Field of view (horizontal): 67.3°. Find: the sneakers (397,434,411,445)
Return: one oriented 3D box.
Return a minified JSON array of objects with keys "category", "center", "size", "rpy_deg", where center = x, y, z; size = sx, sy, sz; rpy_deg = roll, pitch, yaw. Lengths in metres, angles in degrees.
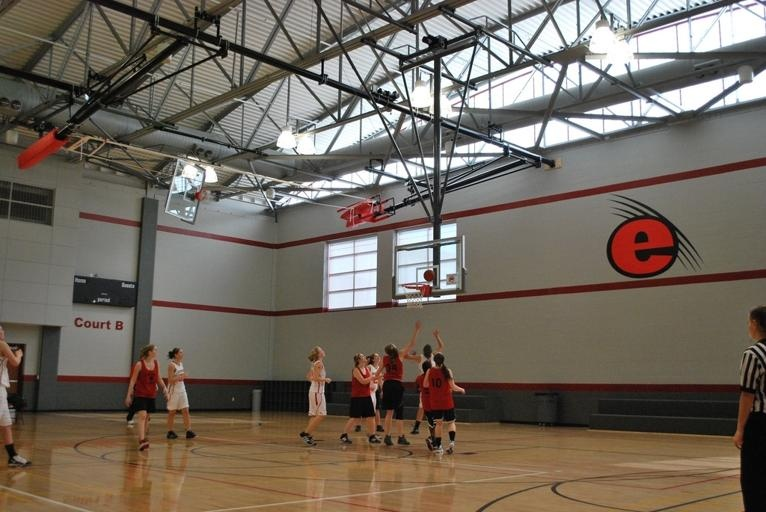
[{"category":"sneakers","center":[0.495,3.930,12.298],"size":[0.362,0.229,0.132],"rpy_deg":[5,-6,-42]}]

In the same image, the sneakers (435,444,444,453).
[{"category":"sneakers","center":[1.077,3.763,11.181],"size":[0.163,0.082,0.224],"rpy_deg":[2,-5,11]}]

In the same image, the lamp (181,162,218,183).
[{"category":"lamp","center":[-5.280,-2.377,16.393],"size":[0.625,0.281,0.619],"rpy_deg":[12,-20,-40]}]

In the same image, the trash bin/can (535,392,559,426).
[{"category":"trash bin/can","center":[5.088,4.766,17.961],"size":[0.904,1.005,0.910],"rpy_deg":[0,-14,4]}]

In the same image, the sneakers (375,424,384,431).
[{"category":"sneakers","center":[-0.081,4.650,15.470],"size":[0.262,0.168,0.105],"rpy_deg":[1,-4,-16]}]

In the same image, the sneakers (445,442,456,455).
[{"category":"sneakers","center":[1.309,3.718,11.130],"size":[0.163,0.176,0.460],"rpy_deg":[2,-3,6]}]

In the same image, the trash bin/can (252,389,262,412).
[{"category":"trash bin/can","center":[-5.283,6.039,24.159],"size":[0.428,0.825,0.635],"rpy_deg":[3,-11,-13]}]

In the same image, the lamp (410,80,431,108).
[{"category":"lamp","center":[0.847,-3.658,12.890],"size":[0.571,0.579,0.563],"rpy_deg":[0,-15,3]}]

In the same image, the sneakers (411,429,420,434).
[{"category":"sneakers","center":[0.821,4.502,14.716],"size":[0.170,0.128,0.313],"rpy_deg":[-2,-16,2]}]

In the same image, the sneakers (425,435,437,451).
[{"category":"sneakers","center":[0.969,3.668,11.185],"size":[0.197,0.303,0.204],"rpy_deg":[-16,14,-38]}]

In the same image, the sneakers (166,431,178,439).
[{"category":"sneakers","center":[-4.762,4.070,13.012],"size":[0.143,0.158,0.389],"rpy_deg":[13,-20,-42]}]

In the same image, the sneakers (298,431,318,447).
[{"category":"sneakers","center":[-1.646,3.903,12.336],"size":[0.495,0.205,0.160],"rpy_deg":[26,-1,24]}]

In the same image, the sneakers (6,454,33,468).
[{"category":"sneakers","center":[-5.803,3.288,9.208],"size":[0.337,0.143,0.177],"rpy_deg":[0,-3,-10]}]
